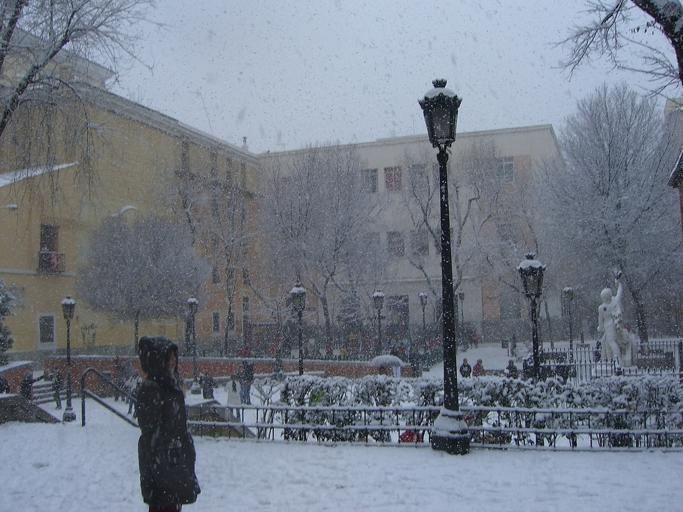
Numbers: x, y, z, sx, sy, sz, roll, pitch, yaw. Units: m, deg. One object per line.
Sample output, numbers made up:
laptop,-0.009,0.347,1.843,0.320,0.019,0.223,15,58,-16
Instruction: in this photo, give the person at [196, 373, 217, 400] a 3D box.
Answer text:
person,-5.927,5.739,49.714,0.825,1.670,0.573,-2,0,17

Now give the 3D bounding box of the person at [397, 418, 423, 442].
person,2.281,5.782,37.413,0.776,0.994,0.572,4,-14,-6
